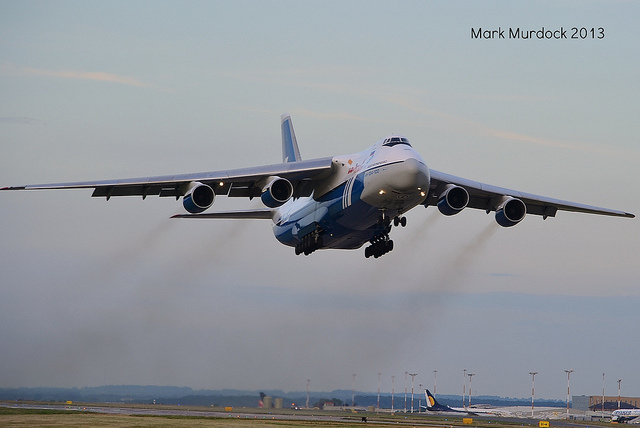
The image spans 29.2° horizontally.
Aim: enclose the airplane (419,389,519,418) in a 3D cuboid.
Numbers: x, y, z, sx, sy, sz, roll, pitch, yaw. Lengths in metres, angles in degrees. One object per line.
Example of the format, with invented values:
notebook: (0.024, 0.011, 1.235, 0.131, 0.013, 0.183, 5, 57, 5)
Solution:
airplane: (11.011, 14.156, 91.743, 6.707, 1.729, 5.056, 4, -6, 5)
